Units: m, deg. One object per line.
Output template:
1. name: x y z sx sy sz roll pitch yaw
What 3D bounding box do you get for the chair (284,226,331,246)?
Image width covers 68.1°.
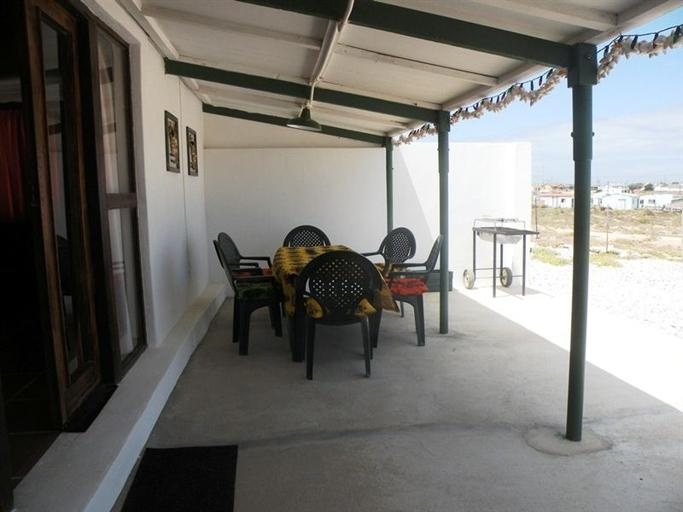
1. chair: -0.459 -0.232 6.643 0.530 0.255 0.373 1 11 10

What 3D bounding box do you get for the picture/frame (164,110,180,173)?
1. picture/frame: -1.738 -1.117 5.297 0.022 0.596 0.582 -5 17 -31

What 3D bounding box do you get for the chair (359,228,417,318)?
1. chair: 0.608 0.136 6.441 0.559 0.859 0.584 8 15 44

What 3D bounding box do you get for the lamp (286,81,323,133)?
1. lamp: -0.377 -1.462 5.292 0.466 0.540 0.413 8 5 -6

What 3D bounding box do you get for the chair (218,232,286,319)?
1. chair: -0.900 0.292 5.384 0.702 1.037 0.622 -2 17 2

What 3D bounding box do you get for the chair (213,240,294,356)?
1. chair: -0.868 0.325 5.153 0.670 1.069 0.681 3 12 6

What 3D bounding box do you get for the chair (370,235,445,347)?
1. chair: 0.634 0.356 5.386 0.872 1.094 0.862 6 4 38

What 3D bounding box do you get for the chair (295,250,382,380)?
1. chair: -0.077 0.477 4.623 0.887 1.199 0.902 3 15 18
